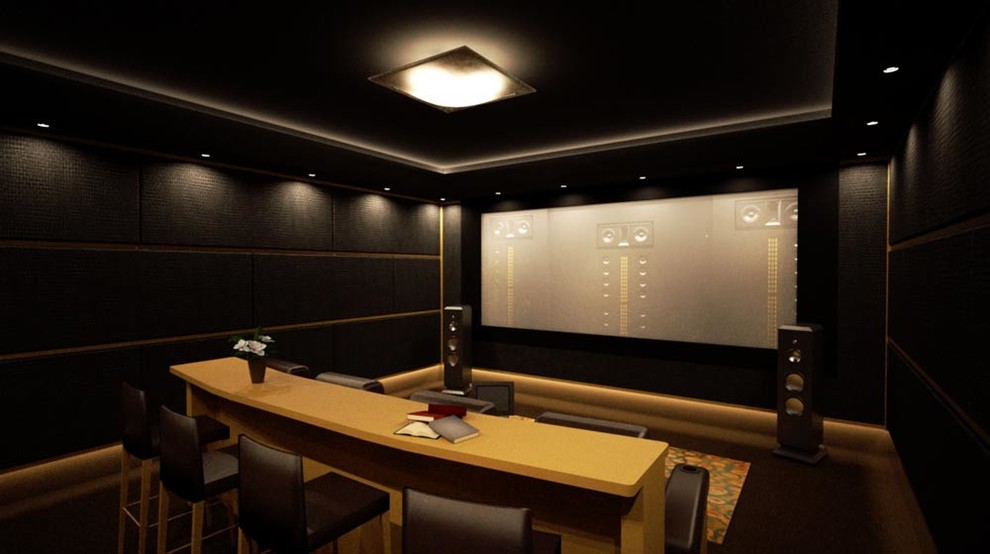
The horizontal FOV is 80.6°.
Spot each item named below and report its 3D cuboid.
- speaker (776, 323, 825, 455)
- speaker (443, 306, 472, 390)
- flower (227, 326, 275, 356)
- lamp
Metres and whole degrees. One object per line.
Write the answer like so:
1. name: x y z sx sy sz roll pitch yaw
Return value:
1. speaker: 3.659 1.361 6.951 0.522 1.564 0.360 0 4 14
2. speaker: -0.581 1.158 9.313 0.529 1.318 0.564 -2 -4 39
3. flower: -2.405 0.644 5.795 0.309 0.258 0.323 -3 4 -29
4. lamp: -0.426 -2.065 6.123 1.521 0.409 0.872 0 3 8
